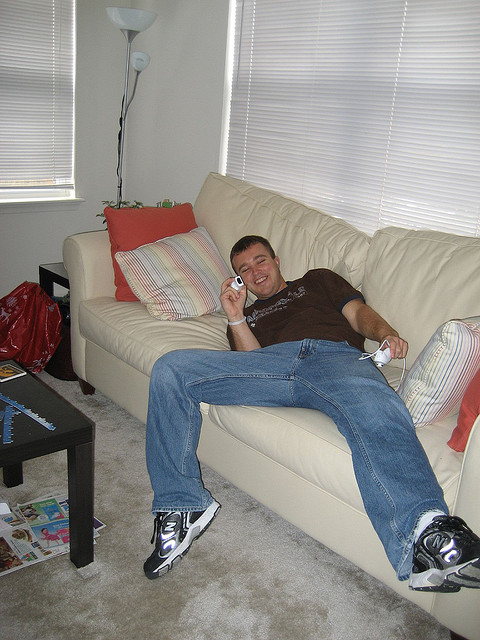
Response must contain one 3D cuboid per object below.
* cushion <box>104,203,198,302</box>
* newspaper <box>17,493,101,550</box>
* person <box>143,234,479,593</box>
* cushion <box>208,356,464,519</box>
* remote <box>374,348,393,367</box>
[{"bbox_3d":[-0.440,-0.284,2.302,0.467,0.430,0.134,-11,-12,-41],"label":"cushion"},{"bbox_3d":[-0.547,0.591,1.475,0.191,0.020,0.280,44,-1,21],"label":"newspaper"},{"bbox_3d":[0.149,0.182,1.383,0.667,0.373,1.014,-10,29,6],"label":"person"},{"bbox_3d":[0.224,0.294,1.416,0.736,0.275,0.420,11,13,17],"label":"cushion"},{"bbox_3d":[0.401,0.101,1.400,0.037,0.029,0.052,23,69,44],"label":"remote"}]
